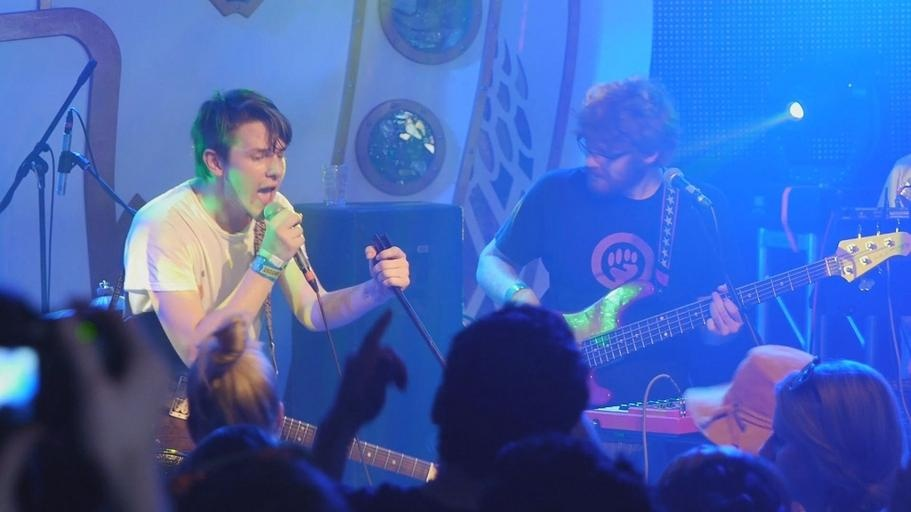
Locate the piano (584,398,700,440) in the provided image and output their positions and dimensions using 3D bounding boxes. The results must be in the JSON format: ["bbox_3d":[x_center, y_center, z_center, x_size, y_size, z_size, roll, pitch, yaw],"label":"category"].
[{"bbox_3d":[1.059,0.934,4.052,0.563,0.113,0.416,-3,-3,32],"label":"piano"}]

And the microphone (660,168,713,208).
[{"bbox_3d":[1.405,-0.416,4.385,0.258,0.239,0.226,-1,0,14],"label":"microphone"}]

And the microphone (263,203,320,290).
[{"bbox_3d":[-0.858,-0.036,3.726,0.139,0.500,0.123,-28,-3,-15],"label":"microphone"}]

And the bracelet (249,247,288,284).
[{"bbox_3d":[-0.931,0.049,3.569,0.168,0.123,0.164,33,8,-26],"label":"bracelet"}]
